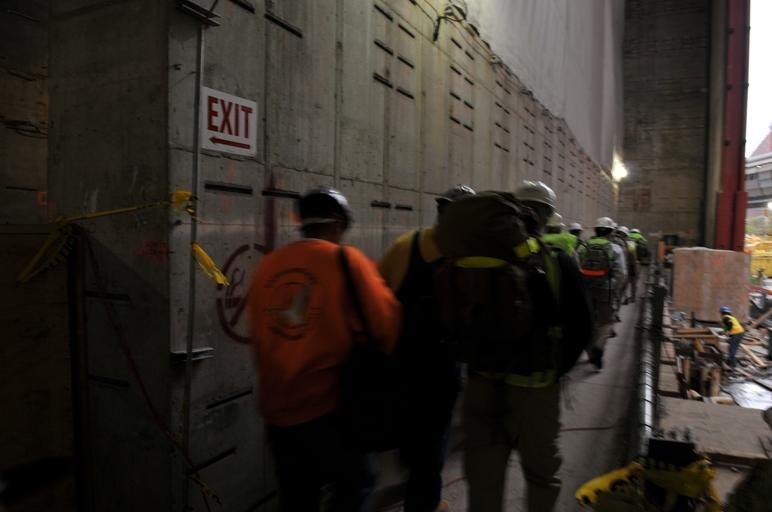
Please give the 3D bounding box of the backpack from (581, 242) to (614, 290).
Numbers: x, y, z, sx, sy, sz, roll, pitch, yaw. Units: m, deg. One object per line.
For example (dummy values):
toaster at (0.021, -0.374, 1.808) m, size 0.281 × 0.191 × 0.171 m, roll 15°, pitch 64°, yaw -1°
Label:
backpack at (3.892, -0.082, 10.269) m, size 0.491 × 0.965 × 0.692 m, roll 7°, pitch 49°, yaw 15°

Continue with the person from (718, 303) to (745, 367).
person at (9.693, 2.158, 15.483) m, size 0.496 × 1.468 × 2.503 m, roll 2°, pitch 3°, yaw 32°

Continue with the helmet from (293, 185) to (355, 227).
helmet at (-0.508, -0.349, 4.656) m, size 0.504 × 0.455 × 0.633 m, roll -6°, pitch 10°, yaw -12°

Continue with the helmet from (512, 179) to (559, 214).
helmet at (1.598, -0.592, 6.030) m, size 0.501 × 0.397 × 0.370 m, roll 12°, pitch -12°, yaw 1°
